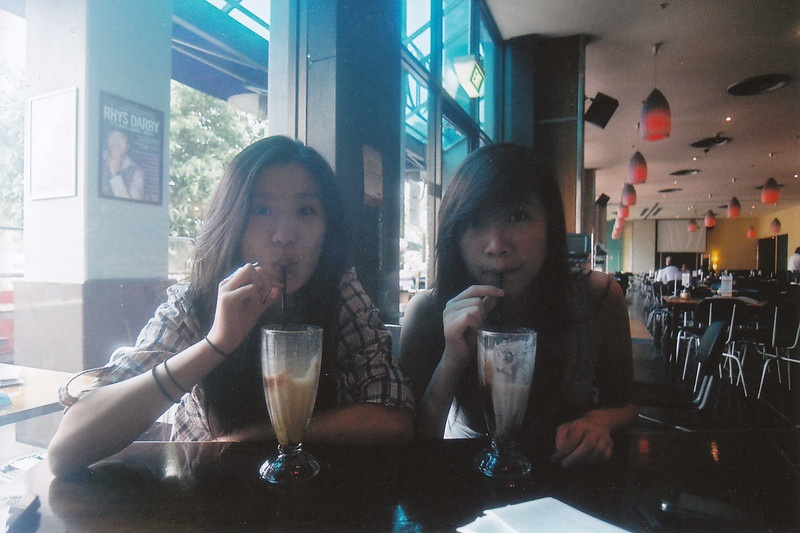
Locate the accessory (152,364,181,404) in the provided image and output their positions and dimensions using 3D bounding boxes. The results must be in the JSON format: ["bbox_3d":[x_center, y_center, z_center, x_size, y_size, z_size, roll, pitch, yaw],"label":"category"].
[{"bbox_3d":[-0.889,0.446,2.095,0.036,0.124,0.133,-27,29,-24],"label":"accessory"}]

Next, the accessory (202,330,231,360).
[{"bbox_3d":[-0.677,0.304,2.127,0.099,0.024,0.104,48,-9,-27],"label":"accessory"}]

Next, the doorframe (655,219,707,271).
[{"bbox_3d":[8.694,-0.658,17.462,1.768,1.880,0.204,2,-12,1],"label":"doorframe"}]

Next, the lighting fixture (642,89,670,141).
[{"bbox_3d":[1.964,-1.197,4.322,0.203,0.416,0.338,0,0,23],"label":"lighting fixture"}]

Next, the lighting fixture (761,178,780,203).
[{"bbox_3d":[3.825,-0.806,5.789,0.129,0.306,0.531,0,0,31],"label":"lighting fixture"}]
